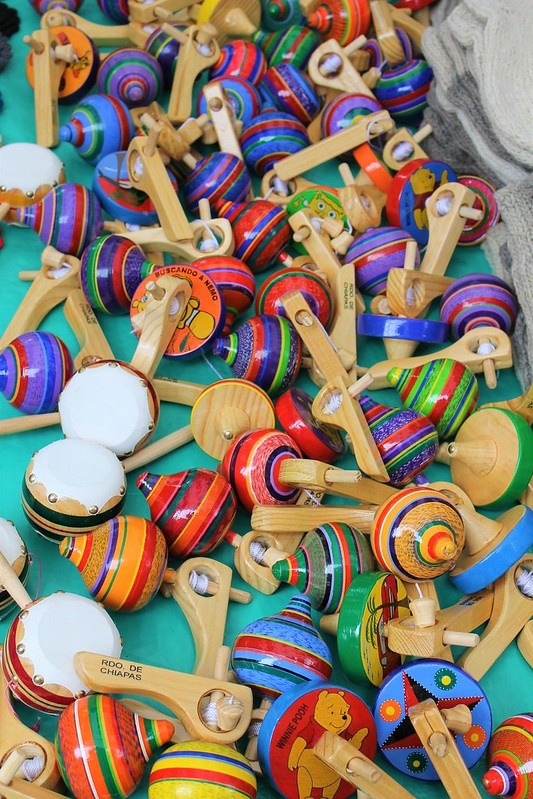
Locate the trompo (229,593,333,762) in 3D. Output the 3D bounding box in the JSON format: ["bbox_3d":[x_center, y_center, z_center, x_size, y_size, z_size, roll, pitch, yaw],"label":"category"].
[{"bbox_3d":[0.022,0.377,0.926,0.100,0.100,0.167,30,47,-18],"label":"trompo"}]
